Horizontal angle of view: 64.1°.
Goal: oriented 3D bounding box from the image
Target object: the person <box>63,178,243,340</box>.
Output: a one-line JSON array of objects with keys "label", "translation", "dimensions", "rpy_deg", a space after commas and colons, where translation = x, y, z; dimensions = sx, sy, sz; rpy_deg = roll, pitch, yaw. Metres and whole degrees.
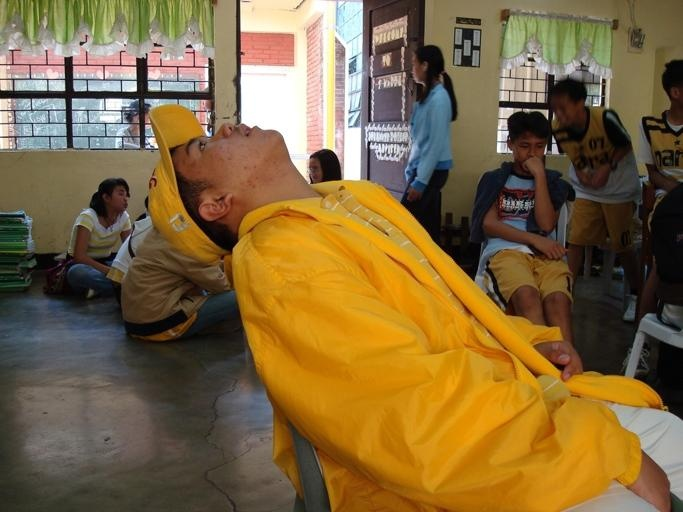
[{"label": "person", "translation": [-1.181, 0.098, 3.289], "dimensions": [0.762, 0.954, 0.558], "rpy_deg": [27, 33, 31]}]

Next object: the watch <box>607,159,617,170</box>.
[{"label": "watch", "translation": [2.001, -0.683, 4.044], "dimensions": [0.041, 0.082, 0.044], "rpy_deg": [-25, 48, -33]}]
